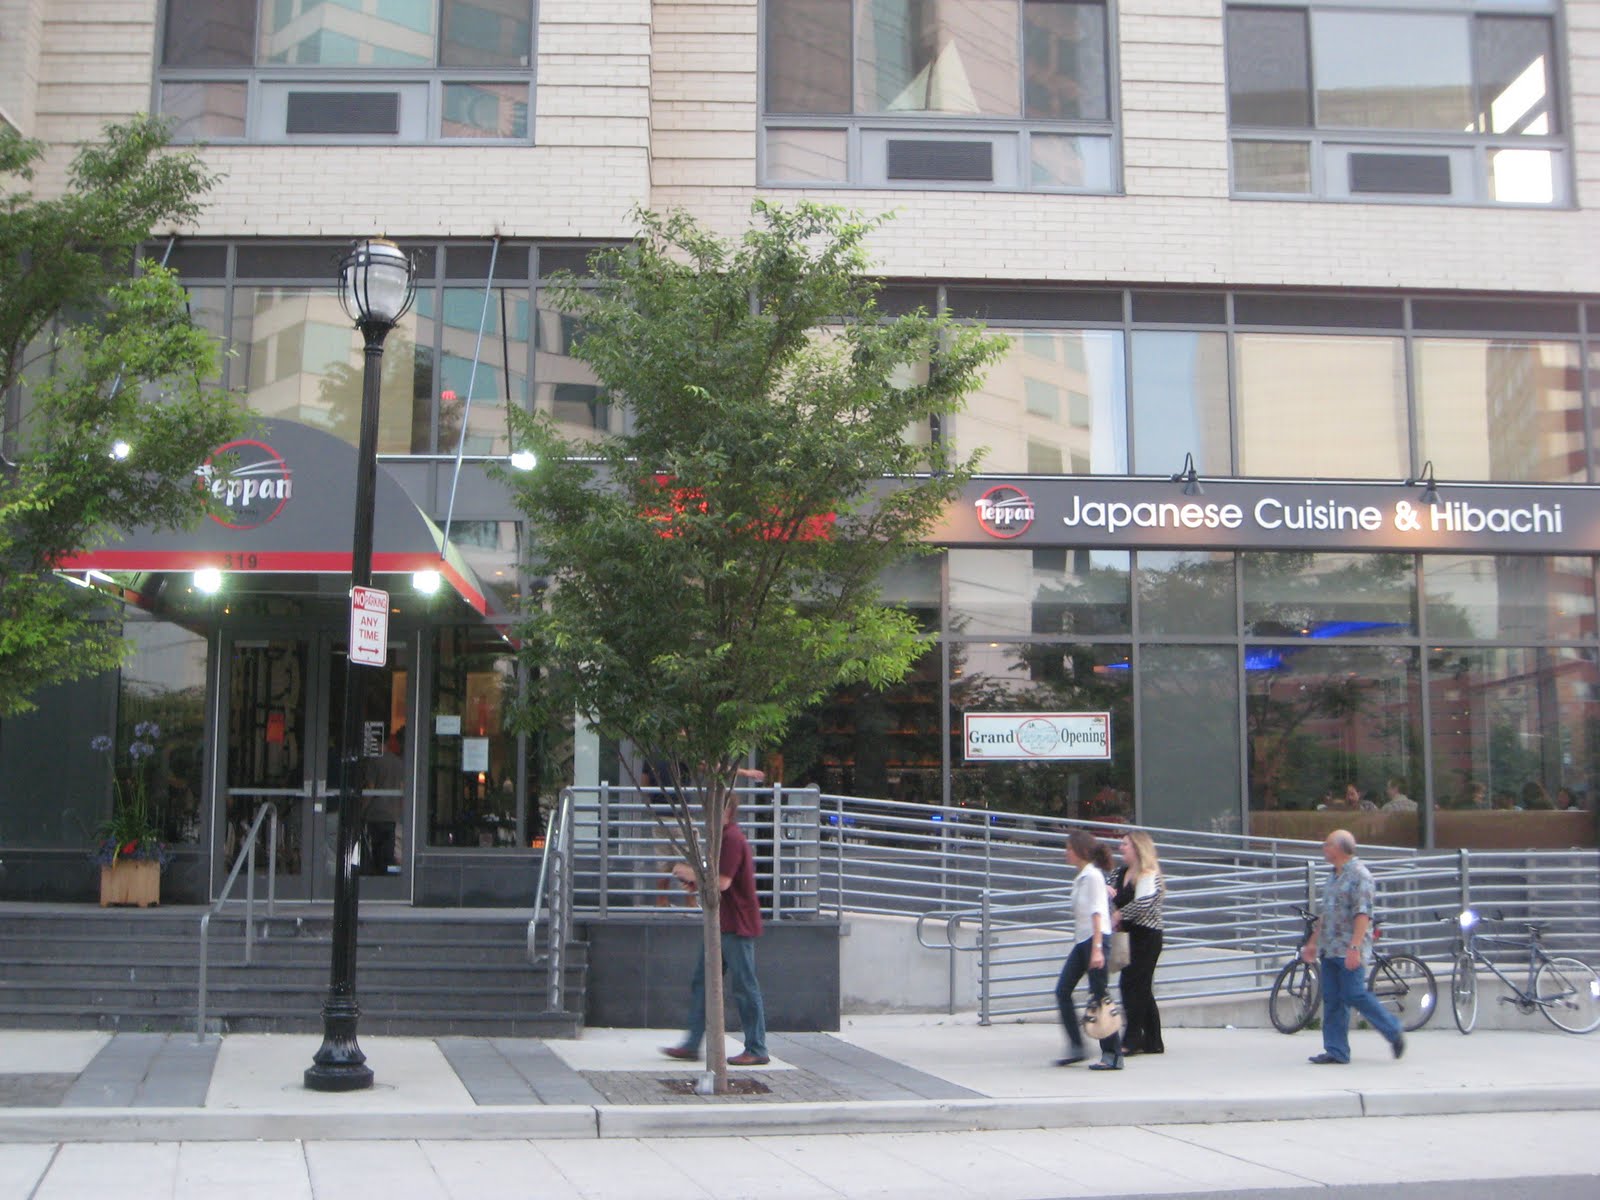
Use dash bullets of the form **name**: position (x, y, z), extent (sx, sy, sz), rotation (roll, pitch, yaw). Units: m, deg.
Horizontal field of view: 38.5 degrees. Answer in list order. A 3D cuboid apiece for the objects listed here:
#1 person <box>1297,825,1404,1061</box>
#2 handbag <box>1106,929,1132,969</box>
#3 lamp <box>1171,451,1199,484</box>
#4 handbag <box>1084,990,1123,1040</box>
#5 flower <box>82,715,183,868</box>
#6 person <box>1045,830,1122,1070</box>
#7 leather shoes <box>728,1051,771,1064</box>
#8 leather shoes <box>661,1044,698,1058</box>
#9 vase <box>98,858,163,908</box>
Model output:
- **person**: position (5.687, 3.561, 23.529), extent (0.899, 2.346, 0.687), rotation (-2, -5, 20)
- **handbag**: position (3.332, 3.635, 23.817), extent (0.375, 0.380, 0.327), rotation (-3, -6, 21)
- **lamp**: position (4.871, -1.652, 28.970), extent (0.330, 0.456, 0.329), rotation (-1, -4, 10)
- **handbag**: position (3.067, 4.174, 22.839), extent (0.286, 0.447, 0.444), rotation (0, -9, -16)
- **flower**: position (-7.924, 2.240, 27.230), extent (0.748, 1.708, 0.875), rotation (1, -4, -13)
- **person**: position (2.928, 3.543, 23.322), extent (0.653, 2.373, 1.175), rotation (-1, -4, 7)
- **leather shoes**: position (-0.512, 4.548, 22.692), extent (0.387, 0.153, 0.152), rotation (2, -14, 3)
- **leather shoes**: position (-1.214, 4.549, 22.977), extent (0.357, 0.160, 0.127), rotation (9, -26, 6)
- **vase**: position (-7.892, 3.324, 26.967), extent (0.703, 0.681, 0.507), rotation (1, -2, -8)
